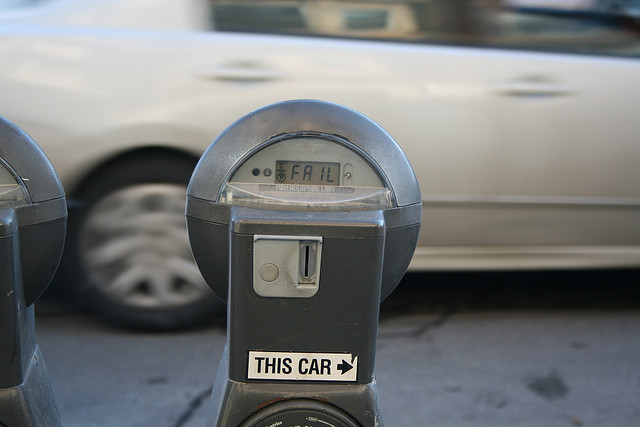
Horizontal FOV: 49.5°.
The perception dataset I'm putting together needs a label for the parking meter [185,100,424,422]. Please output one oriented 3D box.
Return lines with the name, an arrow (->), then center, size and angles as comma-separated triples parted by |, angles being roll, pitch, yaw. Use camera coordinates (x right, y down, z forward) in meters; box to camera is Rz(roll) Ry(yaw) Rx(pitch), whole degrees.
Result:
parking meter -> -0.062, 0.173, 2.426 | 0.807, 0.933, 0.749 | 2, 33, 7
